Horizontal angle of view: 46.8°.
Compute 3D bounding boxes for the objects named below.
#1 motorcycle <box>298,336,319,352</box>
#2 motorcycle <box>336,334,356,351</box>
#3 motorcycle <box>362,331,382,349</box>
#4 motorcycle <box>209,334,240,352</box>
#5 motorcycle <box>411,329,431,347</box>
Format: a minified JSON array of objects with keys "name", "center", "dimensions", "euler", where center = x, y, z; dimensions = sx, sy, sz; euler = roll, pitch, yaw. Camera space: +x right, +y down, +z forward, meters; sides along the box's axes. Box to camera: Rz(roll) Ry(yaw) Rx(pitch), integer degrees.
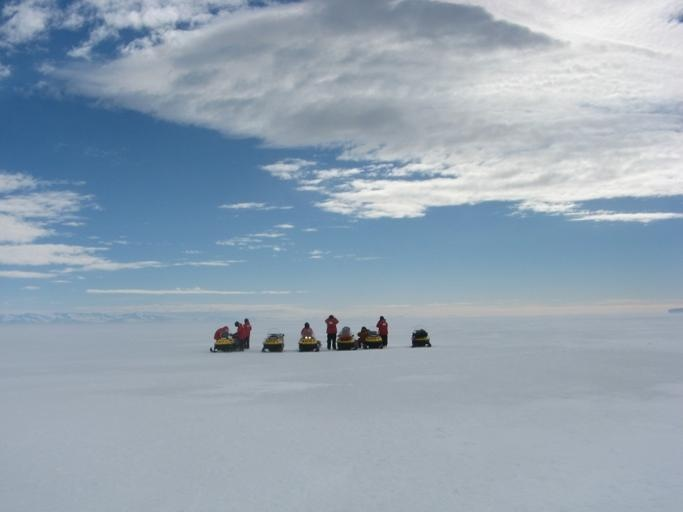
[{"name":"motorcycle","center":[-1.710,4.654,42.115],"dimensions":[1.075,0.840,1.020],"euler":[1,0,-6]},{"name":"motorcycle","center":[0.296,4.723,43.763],"dimensions":[0.981,0.579,1.178],"euler":[1,0,3]},{"name":"motorcycle","center":[1.690,4.719,44.910],"dimensions":[1.059,0.745,1.572],"euler":[1,-13,-5]},{"name":"motorcycle","center":[-6.240,4.654,42.245],"dimensions":[1.393,1.019,0.964],"euler":[1,0,31]},{"name":"motorcycle","center":[4.824,4.908,47.719],"dimensions":[1.129,1.029,1.091],"euler":[-2,-2,-3]}]
